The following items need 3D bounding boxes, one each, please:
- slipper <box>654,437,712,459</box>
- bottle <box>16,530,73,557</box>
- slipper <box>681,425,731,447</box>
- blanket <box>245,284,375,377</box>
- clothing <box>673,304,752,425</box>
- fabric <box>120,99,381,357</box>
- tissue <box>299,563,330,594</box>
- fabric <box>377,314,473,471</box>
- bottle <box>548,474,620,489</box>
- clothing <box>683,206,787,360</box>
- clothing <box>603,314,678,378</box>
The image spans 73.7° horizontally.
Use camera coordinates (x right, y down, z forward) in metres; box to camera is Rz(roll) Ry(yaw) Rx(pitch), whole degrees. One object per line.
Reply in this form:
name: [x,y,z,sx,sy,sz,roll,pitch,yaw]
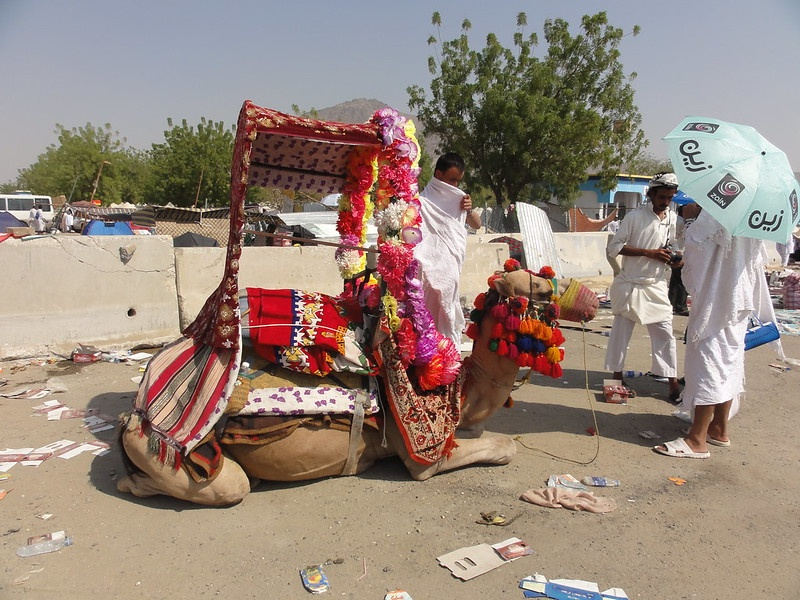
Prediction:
slipper: [2.290,1.204,4.334,0.406,0.129,0.157,3,-5,0]
bottle: [-2.117,1.453,3.174,0.269,0.048,0.186,-4,8,-35]
slipper: [2.586,1.129,4.473,0.394,0.113,0.140,19,-12,-31]
blanket: [-0.617,0.212,3.614,0.814,0.568,0.268,2,-37,-18]
clothing: [2.582,0.559,4.490,0.588,0.775,0.297,3,-2,-10]
fabric: [-0.842,-0.476,4.054,1.459,1.643,1.454,-2,-7,16]
tissue: [-0.482,1.573,2.995,0.132,0.057,0.188,-3,7,-28]
fabric: [0.176,0.547,3.875,0.641,0.983,1.008,-10,17,-8]
bottle: [1.304,1.335,3.902,0.245,0.027,0.187,-1,-1,-16]
clothing: [2.918,-0.204,4.462,0.630,1.099,0.472,4,0,-32]
clothing: [2.674,0.538,5.939,0.734,0.770,0.345,2,9,17]
